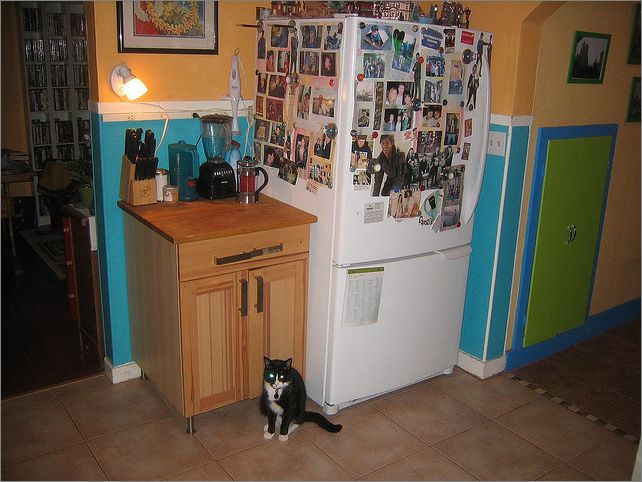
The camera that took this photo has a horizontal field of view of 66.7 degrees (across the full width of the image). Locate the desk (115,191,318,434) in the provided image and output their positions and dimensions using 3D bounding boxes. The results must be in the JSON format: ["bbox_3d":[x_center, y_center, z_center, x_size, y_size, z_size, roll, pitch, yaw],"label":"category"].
[{"bbox_3d":[-0.639,0.382,3.117,1.216,1.174,0.723,-3,19,-14],"label":"desk"}]

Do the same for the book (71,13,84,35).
[{"bbox_3d":[-3.058,-2.735,6.139,0.164,0.260,0.090,-5,19,-19],"label":"book"}]

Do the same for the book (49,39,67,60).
[{"bbox_3d":[-3.285,-2.407,6.124,0.224,0.240,0.054,-7,18,-39],"label":"book"}]

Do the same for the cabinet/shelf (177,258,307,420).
[{"bbox_3d":[-0.523,0.560,3.130,0.860,0.871,0.452,-7,14,-35],"label":"cabinet/shelf"}]

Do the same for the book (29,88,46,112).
[{"bbox_3d":[-3.558,-1.782,6.151,0.205,0.272,0.038,-10,21,-31],"label":"book"}]

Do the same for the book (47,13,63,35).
[{"bbox_3d":[-3.275,-2.699,6.047,0.180,0.255,0.036,-12,22,-35],"label":"book"}]

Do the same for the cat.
[{"bbox_3d":[-0.128,0.997,3.052,0.405,0.419,0.288,10,17,41],"label":"cat"}]

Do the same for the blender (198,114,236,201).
[{"bbox_3d":[-0.703,-0.575,3.290,0.257,0.536,0.314,-2,18,-10],"label":"blender"}]

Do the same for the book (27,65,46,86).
[{"bbox_3d":[-3.543,-2.076,6.084,0.120,0.231,0.229,3,10,8],"label":"book"}]

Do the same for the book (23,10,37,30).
[{"bbox_3d":[-3.532,-2.719,5.969,0.185,0.247,0.053,-7,20,-24],"label":"book"}]

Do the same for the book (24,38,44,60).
[{"bbox_3d":[-3.531,-2.368,6.025,0.214,0.265,0.052,-10,21,-30],"label":"book"}]

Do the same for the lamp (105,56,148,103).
[{"bbox_3d":[-1.212,-0.995,3.049,0.196,0.218,0.102,8,19,18],"label":"lamp"}]

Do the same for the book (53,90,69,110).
[{"bbox_3d":[-3.343,-1.836,6.285,0.138,0.269,0.194,14,17,36],"label":"book"}]
